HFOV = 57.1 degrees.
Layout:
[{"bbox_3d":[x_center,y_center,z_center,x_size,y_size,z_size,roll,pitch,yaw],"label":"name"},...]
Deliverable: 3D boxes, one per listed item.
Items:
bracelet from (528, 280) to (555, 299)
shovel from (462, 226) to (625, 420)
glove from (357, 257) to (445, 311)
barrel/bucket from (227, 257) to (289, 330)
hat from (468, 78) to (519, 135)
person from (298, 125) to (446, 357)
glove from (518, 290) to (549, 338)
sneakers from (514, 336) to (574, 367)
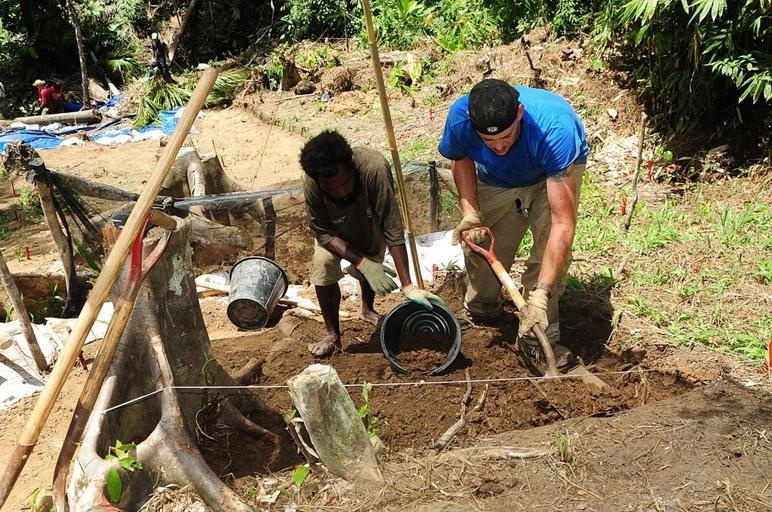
[{"bbox_3d":[1.370,0.347,6.250,0.177,0.187,0.114,-5,52,44],"label":"bracelet"},{"bbox_3d":[1.331,0.525,6.492,0.615,1.500,1.283,-21,26,-33],"label":"shovel"},{"bbox_3d":[0.117,0.295,6.985,0.709,0.230,0.197,30,21,9],"label":"glove"},{"bbox_3d":[-1.436,0.415,7.892,0.681,0.740,0.573,18,32,-1],"label":"barrel/bucket"},{"bbox_3d":[0.918,-1.275,6.099,0.443,0.427,0.382,-4,21,8],"label":"hat"},{"bbox_3d":[-0.333,-0.079,6.595,1.088,2.186,0.868,-7,21,-2],"label":"person"},{"bbox_3d":[1.276,0.499,6.180,0.227,0.380,0.265,1,23,20],"label":"glove"},{"bbox_3d":[1.471,0.884,6.650,0.438,0.176,0.277,30,12,30],"label":"sneakers"}]
